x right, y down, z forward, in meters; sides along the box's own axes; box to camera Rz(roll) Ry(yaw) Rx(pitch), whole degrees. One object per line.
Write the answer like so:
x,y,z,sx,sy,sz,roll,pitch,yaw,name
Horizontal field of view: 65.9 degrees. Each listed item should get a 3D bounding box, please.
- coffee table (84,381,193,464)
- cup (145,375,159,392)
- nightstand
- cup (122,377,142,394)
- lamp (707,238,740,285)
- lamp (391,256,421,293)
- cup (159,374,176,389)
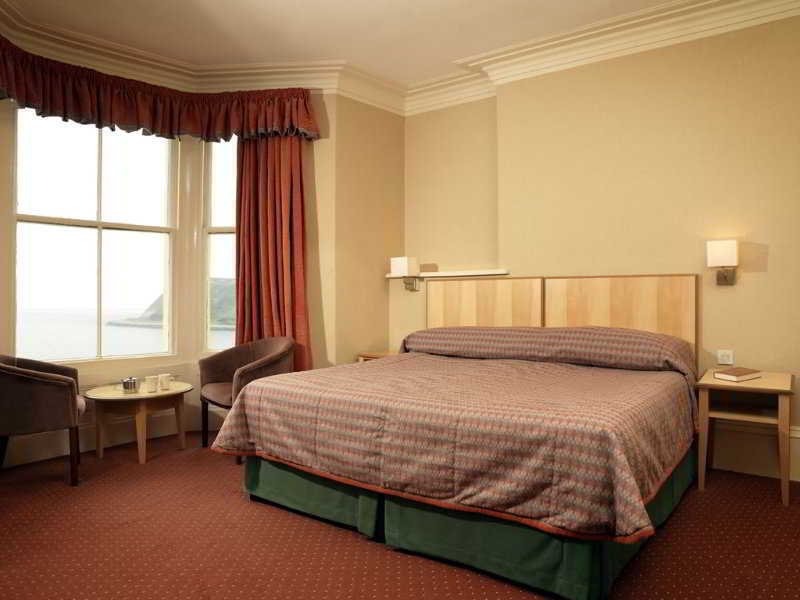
-2.252,1.045,5.344,0.726,0.584,0.888,2,2,18,coffee table
-2.152,0.713,5.296,0.109,0.134,0.120,1,-1,-7,cup
2.561,0.974,4.613,0.869,1.201,0.809,-1,-1,32,nightstand
-2.273,0.688,5.220,0.135,0.193,0.133,1,5,0,cup
2.519,-0.290,4.782,0.206,0.364,0.127,-2,3,35,lamp
0.063,-0.258,6.159,0.312,0.368,0.307,-5,6,-41,lamp
-2.061,0.701,5.393,0.099,0.159,0.156,-1,-4,27,cup
